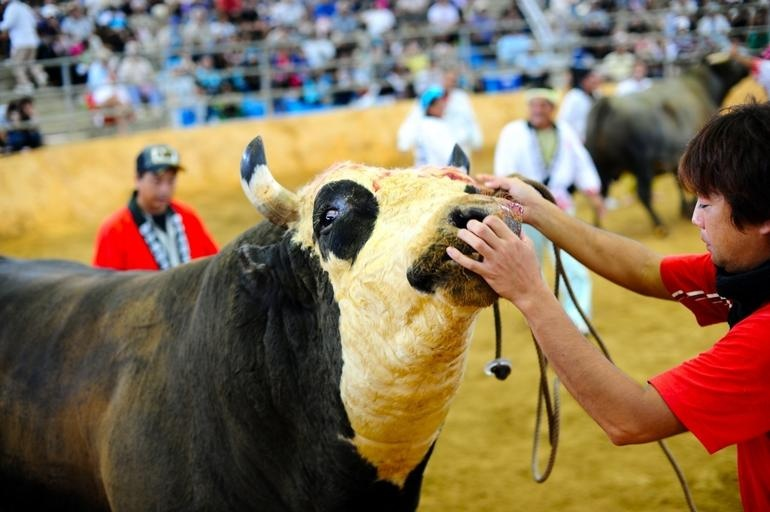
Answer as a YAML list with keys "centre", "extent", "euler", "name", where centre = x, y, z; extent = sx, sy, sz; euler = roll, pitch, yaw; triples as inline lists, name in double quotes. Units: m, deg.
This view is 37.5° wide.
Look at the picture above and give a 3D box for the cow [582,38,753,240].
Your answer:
- centre: [3.622, -1.811, 17.399]
  extent: [0.992, 2.279, 3.133]
  euler: [-24, 37, -24]
  name: "cow"
